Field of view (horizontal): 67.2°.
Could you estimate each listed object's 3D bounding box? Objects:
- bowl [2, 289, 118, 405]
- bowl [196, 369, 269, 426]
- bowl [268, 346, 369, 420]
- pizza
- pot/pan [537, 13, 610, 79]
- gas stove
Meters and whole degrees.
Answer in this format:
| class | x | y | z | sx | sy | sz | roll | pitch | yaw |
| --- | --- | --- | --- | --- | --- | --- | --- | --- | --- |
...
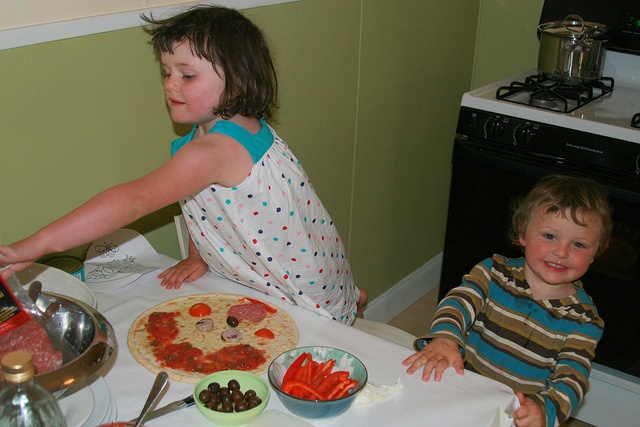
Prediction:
| class | x | y | z | sx | sy | sz | roll | pitch | yaw |
| --- | --- | --- | --- | --- | --- | --- | --- | --- | --- |
| bowl | -0.473 | 0.253 | 0.894 | 0.182 | 0.066 | 0.180 | 15 | 29 | -9 |
| bowl | -0.177 | 0.379 | 0.974 | 0.151 | 0.074 | 0.097 | -8 | 26 | -8 |
| bowl | -0.002 | 0.356 | 1.005 | 0.189 | 0.096 | 0.158 | 10 | 29 | 25 |
| pizza | -0.266 | 0.295 | 1.134 | 0.211 | 0.014 | 0.218 | -16 | 31 | -35 |
| pot/pan | 1.050 | -0.692 | 2.019 | 0.243 | 0.235 | 0.314 | 6 | 20 | 17 |
| gas stove | 1.040 | -0.556 | 2.145 | 0.376 | 0.099 | 0.530 | 19 | 34 | 38 |
